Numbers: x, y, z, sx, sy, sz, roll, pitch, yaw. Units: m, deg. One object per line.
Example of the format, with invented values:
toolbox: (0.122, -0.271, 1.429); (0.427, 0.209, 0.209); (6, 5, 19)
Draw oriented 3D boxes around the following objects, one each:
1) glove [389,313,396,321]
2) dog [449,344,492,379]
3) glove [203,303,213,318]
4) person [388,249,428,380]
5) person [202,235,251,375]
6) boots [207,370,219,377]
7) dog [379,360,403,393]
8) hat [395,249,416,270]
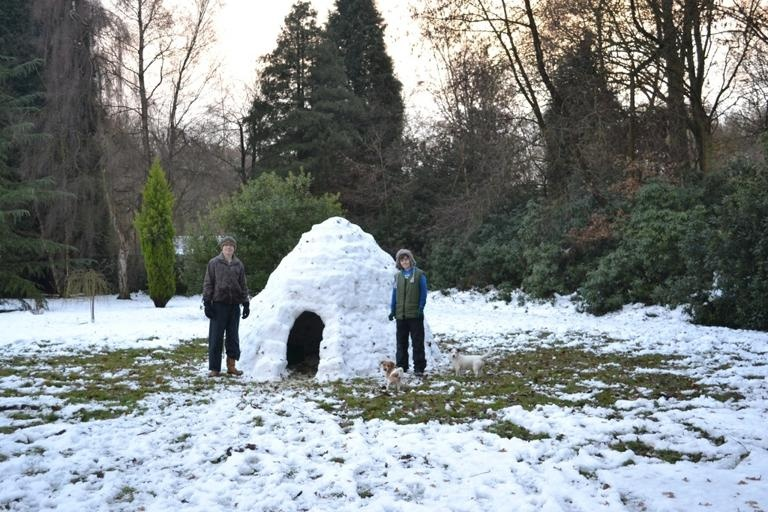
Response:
glove: (0.205, 1.655, 21.527); (0.196, 0.100, 0.273); (2, -7, 9)
dog: (2.297, 2.902, 21.485); (0.902, 0.772, 0.510); (-1, -5, 6)
glove: (-4.737, 1.444, 21.008); (0.265, 0.419, 0.205); (0, -5, -8)
person: (0.640, 1.524, 21.473); (0.956, 3.430, 0.631); (0, -5, 2)
person: (-4.354, 1.342, 21.314); (1.194, 3.753, 0.572); (1, -5, -15)
boots: (-4.649, 3.168, 21.148); (0.130, 0.197, 0.276); (-4, -16, 21)
dog: (0.198, 3.170, 20.801); (0.538, 0.813, 0.867); (-1, -5, 10)
hat: (0.539, 0.059, 21.770); (0.514, 0.602, 0.606); (1, 8, 14)
